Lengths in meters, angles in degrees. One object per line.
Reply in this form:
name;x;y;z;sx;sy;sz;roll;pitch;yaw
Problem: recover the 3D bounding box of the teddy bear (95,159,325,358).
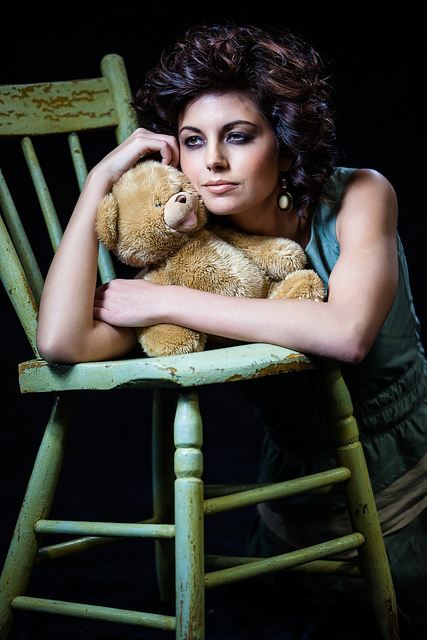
teddy bear;-0.004;-0.102;0.921;0.343;0.250;0.262;22;41;35
